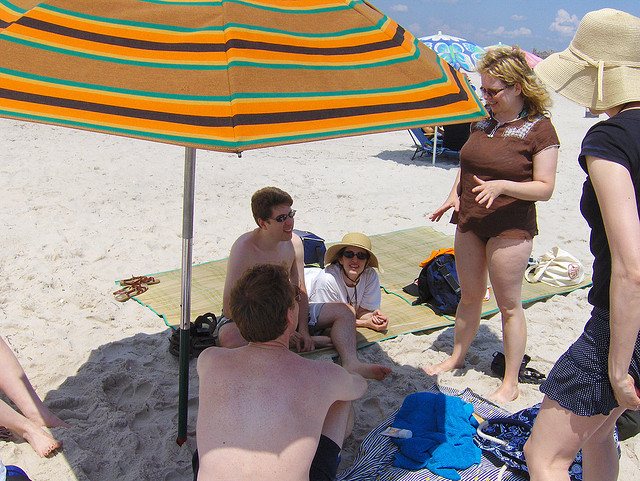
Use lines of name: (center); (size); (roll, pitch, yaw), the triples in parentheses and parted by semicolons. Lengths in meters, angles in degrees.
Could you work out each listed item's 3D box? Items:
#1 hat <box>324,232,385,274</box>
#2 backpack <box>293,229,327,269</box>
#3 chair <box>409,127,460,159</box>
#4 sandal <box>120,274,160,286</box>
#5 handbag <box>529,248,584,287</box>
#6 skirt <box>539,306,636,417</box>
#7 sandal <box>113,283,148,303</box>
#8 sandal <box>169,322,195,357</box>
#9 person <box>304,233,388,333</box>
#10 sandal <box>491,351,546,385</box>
hat: (0.214, 0.062, 4.488); (0.303, 0.325, 0.168); (23, 65, 14)
backpack: (-0.012, 0.056, 5.692); (0.382, 0.331, 0.314); (3, 25, 41)
chair: (2.479, -2.089, 11.786); (1.308, 0.585, 0.411); (7, 6, 25)
sandal: (-1.789, 0.400, 5.396); (0.268, 0.051, 0.125); (-5, 13, -22)
handbag: (2.396, 0.276, 5.628); (0.520, 0.279, 0.377); (-1, 12, 15)
skirt: (1.161, 0.532, 2.433); (0.234, 0.453, 0.255); (-5, 20, -16)
sandal: (-1.799, 0.490, 5.207); (0.137, 0.042, 0.249); (19, 28, 28)
sandal: (-1.109, 0.794, 4.379); (0.219, 0.325, 0.115); (3, -19, -6)
person: (0.234, 0.338, 4.626); (0.536, 0.486, 1.037); (-3, 14, -19)
sandal: (1.538, 0.972, 4.152); (0.408, 0.171, 0.143); (6, 4, 31)
